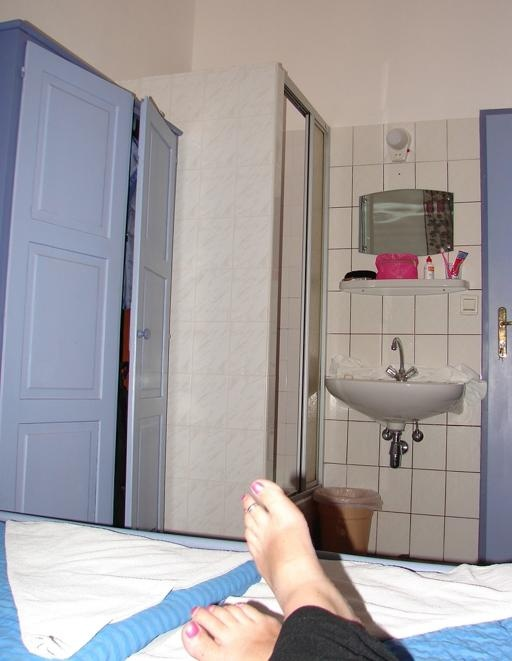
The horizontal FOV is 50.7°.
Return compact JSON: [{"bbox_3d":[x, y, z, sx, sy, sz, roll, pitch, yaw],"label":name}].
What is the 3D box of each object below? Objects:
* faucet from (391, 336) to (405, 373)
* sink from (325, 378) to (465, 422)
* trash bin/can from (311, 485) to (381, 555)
[{"bbox_3d":[0.647,0.111,2.463,0.063,0.171,0.180,1,-13,14],"label":"faucet"},{"bbox_3d":[0.582,0.294,2.233,0.496,0.177,0.346,1,-3,-6],"label":"sink"},{"bbox_3d":[0.438,0.802,2.347,0.198,0.184,0.187,15,-1,44],"label":"trash bin/can"}]
